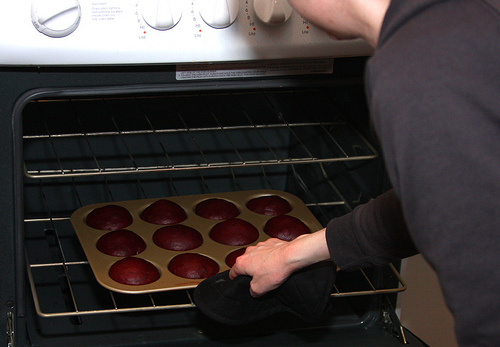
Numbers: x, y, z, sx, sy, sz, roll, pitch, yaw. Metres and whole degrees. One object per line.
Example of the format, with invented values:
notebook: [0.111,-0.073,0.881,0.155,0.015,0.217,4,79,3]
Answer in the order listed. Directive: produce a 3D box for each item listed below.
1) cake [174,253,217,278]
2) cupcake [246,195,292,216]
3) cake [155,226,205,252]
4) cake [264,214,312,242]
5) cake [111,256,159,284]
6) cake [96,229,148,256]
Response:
cake: [-0.119,0.203,0.964,0.093,0.029,0.061,4,58,-7]
cupcake: [0.052,0.085,1.147,0.114,0.042,0.089,2,23,-5]
cake: [-0.166,0.151,1.027,0.067,0.019,0.067,-14,28,-39]
cake: [0.089,0.128,1.062,0.066,0.019,0.067,7,23,16]
cake: [-0.246,0.207,0.943,0.095,0.041,0.078,-7,60,-13]
cake: [-0.291,0.156,0.995,0.066,0.018,0.066,-16,32,-41]
